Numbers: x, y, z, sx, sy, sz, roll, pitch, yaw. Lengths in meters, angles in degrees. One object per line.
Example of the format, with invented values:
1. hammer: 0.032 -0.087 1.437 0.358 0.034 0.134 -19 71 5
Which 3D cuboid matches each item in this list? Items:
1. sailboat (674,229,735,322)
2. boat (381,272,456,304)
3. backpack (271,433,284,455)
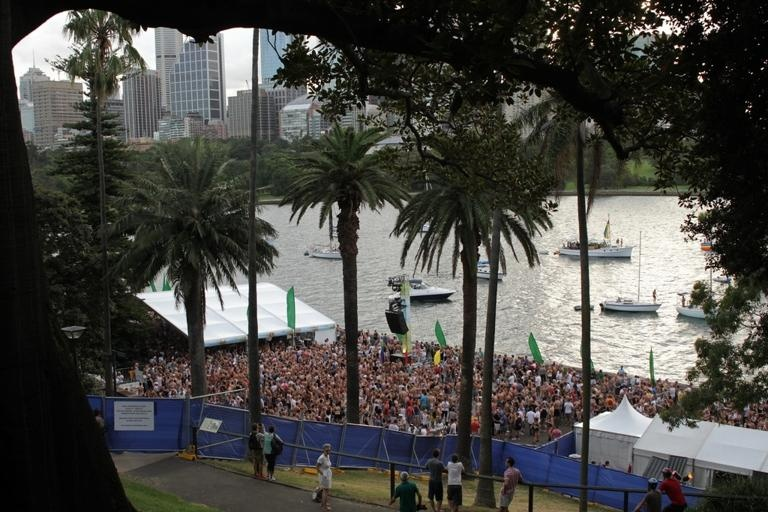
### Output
1. sailboat: 16.914 1.338 60.762 3.565 6.542 2.466 3 -21 -1
2. boat: 3.034 2.446 95.189 5.539 2.304 2.557 -3 14 -14
3. backpack: -3.183 5.650 34.580 0.274 0.627 0.630 3 -1 6
